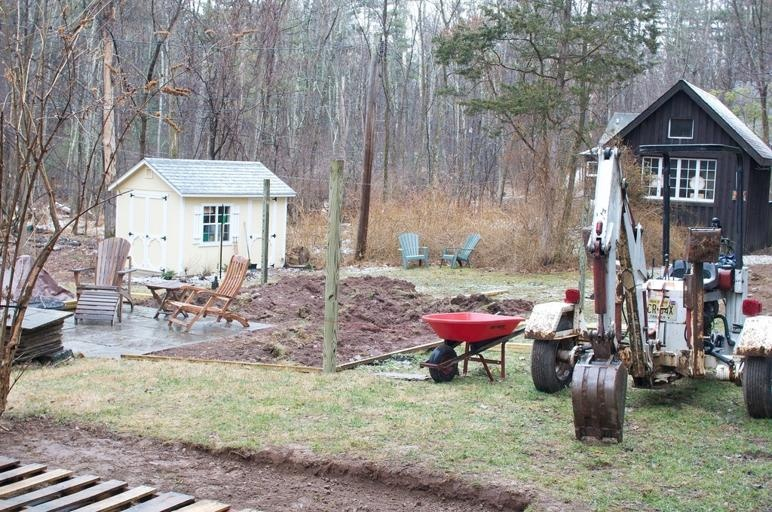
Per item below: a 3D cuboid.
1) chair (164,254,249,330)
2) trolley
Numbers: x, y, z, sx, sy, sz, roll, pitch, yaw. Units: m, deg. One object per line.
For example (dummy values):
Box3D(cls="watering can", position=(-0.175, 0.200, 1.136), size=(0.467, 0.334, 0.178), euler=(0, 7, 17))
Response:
Box3D(cls="chair", position=(-3.676, 0.715, 19.277), size=(1.918, 1.872, 1.334), euler=(0, 2, -34))
Box3D(cls="trolley", position=(1.439, 1.493, 15.370), size=(1.688, 0.817, 0.930), euler=(-3, 5, -41))
